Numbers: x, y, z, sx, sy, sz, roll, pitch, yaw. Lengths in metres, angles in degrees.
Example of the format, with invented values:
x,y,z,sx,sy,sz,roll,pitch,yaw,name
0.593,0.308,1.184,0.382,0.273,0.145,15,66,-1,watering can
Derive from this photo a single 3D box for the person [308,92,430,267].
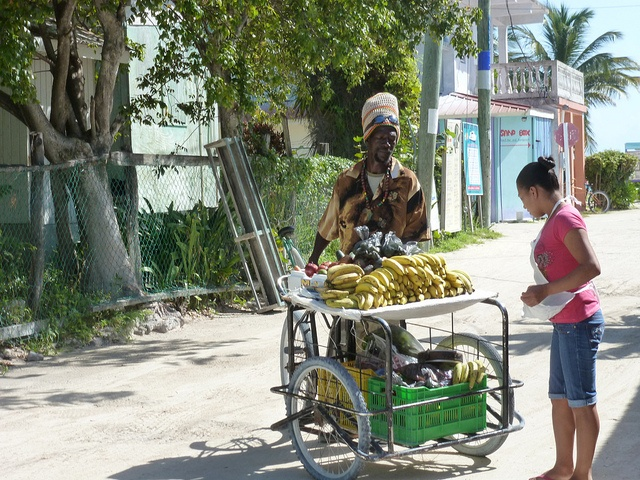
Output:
x,y,z,sx,sy,sz,roll,pitch,yaw,name
0.516,-0.243,6.785,0.676,2.100,0.784,2,9,-30,person

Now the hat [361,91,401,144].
x,y,z,sx,sy,sz,roll,pitch,yaw,name
0.548,-1.151,6.693,0.287,0.437,0.395,-7,-3,-3,hat
